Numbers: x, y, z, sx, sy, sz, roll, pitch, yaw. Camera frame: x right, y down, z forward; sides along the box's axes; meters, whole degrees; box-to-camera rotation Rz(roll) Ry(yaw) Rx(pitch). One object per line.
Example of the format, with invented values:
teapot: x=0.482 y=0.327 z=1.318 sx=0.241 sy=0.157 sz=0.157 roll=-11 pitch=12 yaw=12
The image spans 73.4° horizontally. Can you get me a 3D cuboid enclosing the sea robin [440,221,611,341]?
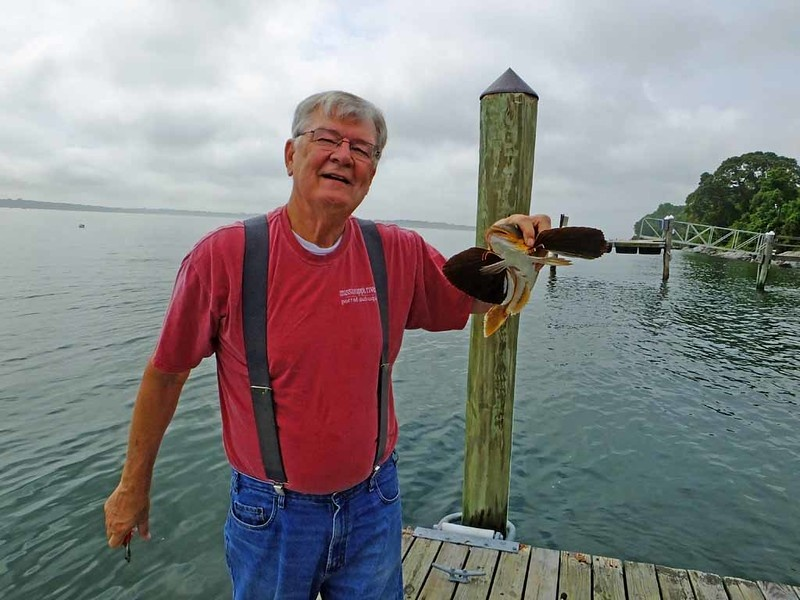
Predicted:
sea robin: x=1.001 y=-0.261 z=4.118 sx=1.082 sy=0.536 sz=1.091 roll=27 pitch=-16 yaw=-31
